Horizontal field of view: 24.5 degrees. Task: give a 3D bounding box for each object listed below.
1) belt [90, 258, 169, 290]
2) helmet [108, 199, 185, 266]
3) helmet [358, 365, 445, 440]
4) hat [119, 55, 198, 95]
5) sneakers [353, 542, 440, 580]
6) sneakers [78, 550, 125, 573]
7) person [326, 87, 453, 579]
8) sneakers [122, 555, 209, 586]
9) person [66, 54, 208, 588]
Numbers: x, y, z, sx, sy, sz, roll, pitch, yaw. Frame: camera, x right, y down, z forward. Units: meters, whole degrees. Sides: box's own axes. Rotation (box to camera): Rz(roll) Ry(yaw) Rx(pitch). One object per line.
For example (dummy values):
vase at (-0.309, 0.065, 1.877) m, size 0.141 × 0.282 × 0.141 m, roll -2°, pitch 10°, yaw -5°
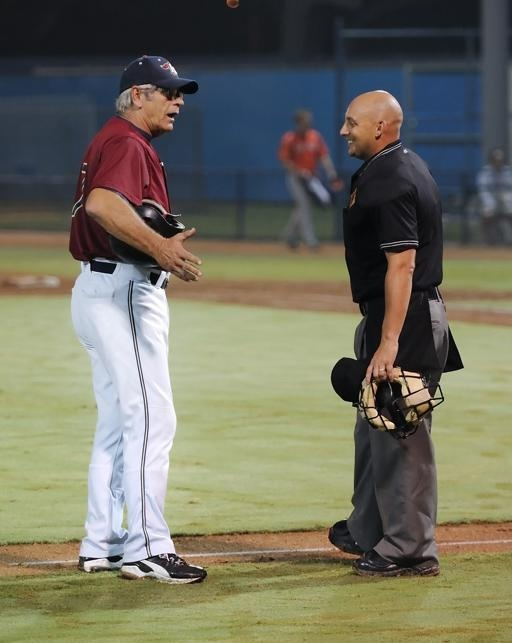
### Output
belt at (-0.431, -0.174, 4.040) m, size 0.176 × 0.046 × 0.135 m, roll 10°, pitch -3°, yaw -11°
helmet at (-0.367, -0.291, 3.995) m, size 0.248 × 0.237 × 0.261 m, roll -1°, pitch 11°, yaw -3°
helmet at (0.526, 0.294, 4.168) m, size 0.350 × 0.178 × 0.283 m, roll 2°, pitch -9°, yaw -34°
hat at (-0.343, -0.846, 4.102) m, size 0.258 × 0.107 × 0.138 m, roll -6°, pitch 11°, yaw 10°
sneakers at (0.498, 0.858, 4.220) m, size 0.311 × 0.102 × 0.098 m, roll 3°, pitch -1°, yaw -1°
sneakers at (-0.544, 0.854, 4.191) m, size 0.160 × 0.054 × 0.056 m, roll 0°, pitch 1°, yaw -16°
person at (0.488, 0.070, 4.200) m, size 0.436 × 1.756 × 0.481 m, roll 1°, pitch 13°, yaw 3°
sneakers at (-0.310, 0.844, 4.037) m, size 0.310 × 0.097 × 0.103 m, roll 1°, pitch -4°, yaw 3°
person at (-0.410, 0.019, 4.099) m, size 0.467 × 1.863 × 0.575 m, roll -1°, pitch 13°, yaw -6°
